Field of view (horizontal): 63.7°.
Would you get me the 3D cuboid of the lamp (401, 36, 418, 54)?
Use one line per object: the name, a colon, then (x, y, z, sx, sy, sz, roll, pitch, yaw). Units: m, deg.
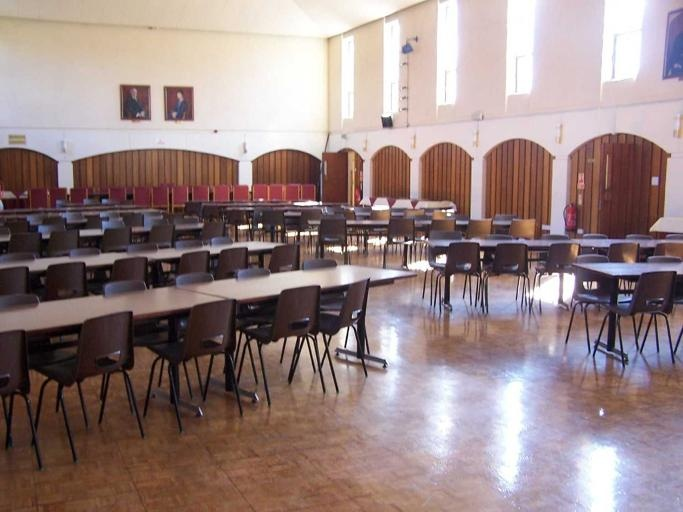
lamp: (2.214, -6.849, 17.798, 0.319, 0.557, 0.711, -4, 11, -22)

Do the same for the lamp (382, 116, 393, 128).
lamp: (1.579, -4.667, 19.112, 0.269, 0.397, 0.553, -9, 14, -43)

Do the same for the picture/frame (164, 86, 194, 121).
picture/frame: (-6.252, -5.870, 21.010, 1.134, 1.519, 0.095, -1, 3, -33)
